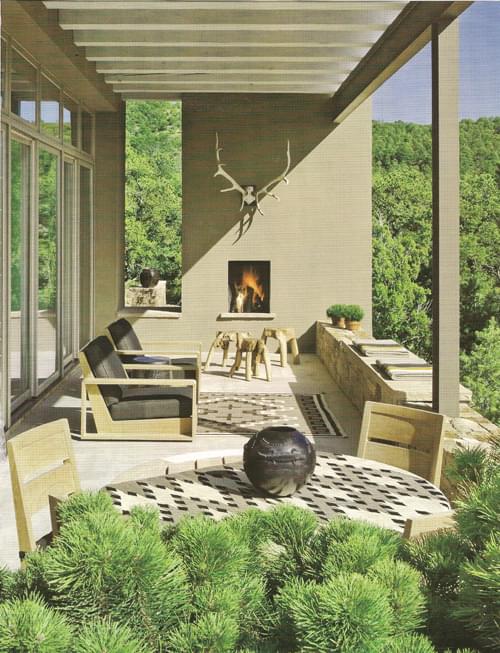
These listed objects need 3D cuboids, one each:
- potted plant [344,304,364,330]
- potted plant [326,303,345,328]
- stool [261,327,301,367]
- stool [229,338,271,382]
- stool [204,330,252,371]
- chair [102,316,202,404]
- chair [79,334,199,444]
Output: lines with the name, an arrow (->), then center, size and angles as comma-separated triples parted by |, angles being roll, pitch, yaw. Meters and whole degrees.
potted plant -> 0.991, -0.095, 5.534 | 0.209, 0.212, 0.202 | 3, -3, -23
potted plant -> 0.609, -0.082, 4.131 | 0.155, 0.144, 0.143 | 0, -2, -6
stool -> 0.394, 0.195, 6.135 | 0.469, 0.435, 0.468 | -1, 2, -18
stool -> 0.049, 0.336, 6.143 | 0.452, 0.476, 0.429 | 3, -3, -26
stool -> -0.273, 0.246, 6.229 | 0.510, 0.461, 0.420 | 8, -4, -34
chair -> -0.808, 0.289, 4.989 | 0.796, 0.640, 0.662 | 1, 4, -1
chair -> -0.798, 0.440, 4.067 | 0.792, 0.689, 0.599 | 2, 7, -10
